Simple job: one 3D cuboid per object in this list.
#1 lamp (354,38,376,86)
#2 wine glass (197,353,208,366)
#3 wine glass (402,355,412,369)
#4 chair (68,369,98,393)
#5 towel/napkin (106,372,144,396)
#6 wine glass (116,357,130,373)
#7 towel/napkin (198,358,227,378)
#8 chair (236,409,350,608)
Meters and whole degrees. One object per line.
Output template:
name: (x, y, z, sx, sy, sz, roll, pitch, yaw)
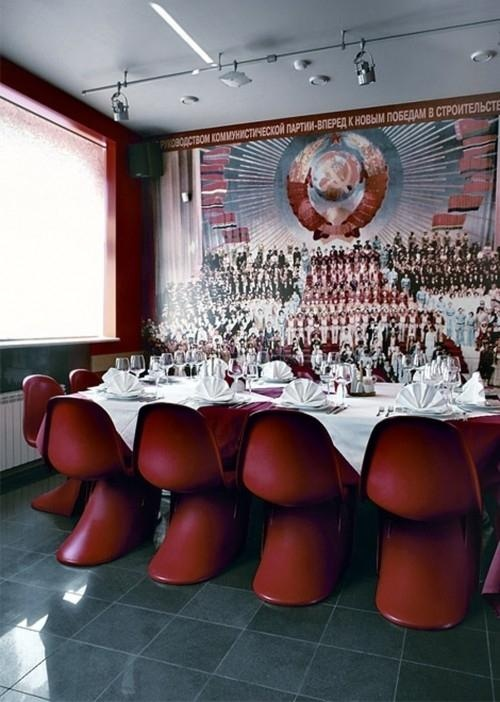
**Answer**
lamp: (0.799, -2.032, 3.299, 0.115, 0.281, 0.104, 0, 21, 35)
wine glass: (-0.356, 0.060, 3.418, 0.064, 0.088, 0.070, 10, -12, -43)
wine glass: (0.850, 0.057, 2.536, 0.043, 0.069, 0.175, -1, -4, 18)
chair: (-1.159, 0.185, 3.250, 0.181, 0.207, 0.171, 1, 1, 44)
towel/napkin: (-0.707, 0.177, 2.513, 0.164, 0.075, 0.157, 2, 3, 40)
wine glass: (-0.717, 0.079, 2.620, 0.069, 0.077, 0.141, 1, -4, -15)
towel/napkin: (-0.223, 0.101, 2.691, 0.134, 0.060, 0.178, 1, 6, -3)
chair: (0.165, 0.595, 1.849, 0.417, 0.748, 0.489, -1, -3, 11)
